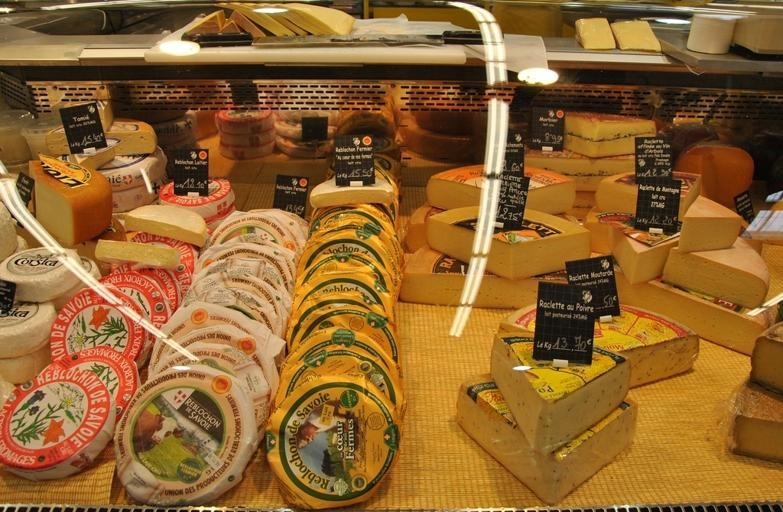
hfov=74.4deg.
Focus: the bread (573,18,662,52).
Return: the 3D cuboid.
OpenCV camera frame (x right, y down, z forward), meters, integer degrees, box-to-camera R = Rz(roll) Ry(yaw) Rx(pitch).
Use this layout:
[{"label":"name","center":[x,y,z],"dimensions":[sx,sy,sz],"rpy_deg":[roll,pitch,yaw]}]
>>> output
[{"label":"bread","center":[1.229,-1.218,2.827],"dimensions":[0.423,0.153,0.267],"rpy_deg":[3,29,5]}]
